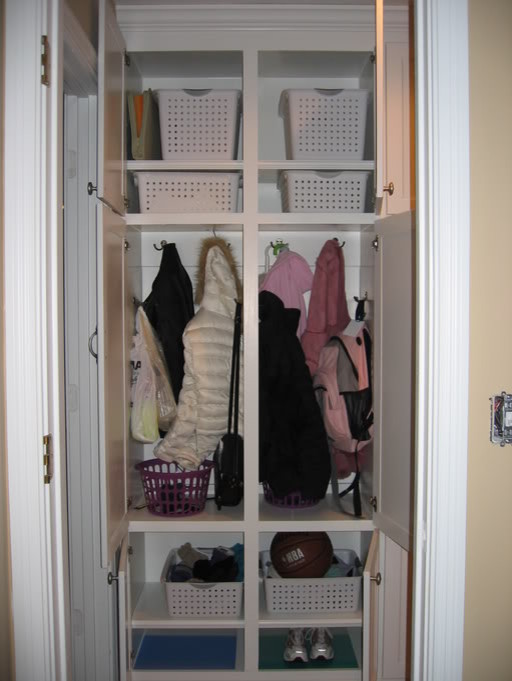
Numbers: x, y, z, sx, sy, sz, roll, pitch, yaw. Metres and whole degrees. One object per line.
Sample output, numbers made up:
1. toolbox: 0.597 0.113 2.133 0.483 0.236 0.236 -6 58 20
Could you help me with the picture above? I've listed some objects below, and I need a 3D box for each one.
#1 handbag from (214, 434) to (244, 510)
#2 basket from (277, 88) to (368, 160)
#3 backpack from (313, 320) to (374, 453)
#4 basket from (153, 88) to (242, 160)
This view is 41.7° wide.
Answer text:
1. handbag: -0.103 0.517 2.408 0.068 0.285 0.189 5 -34 -6
2. basket: 0.241 -0.748 2.338 0.204 0.225 0.233 -1 8 -1
3. backpack: 0.338 0.168 2.441 0.150 0.433 0.255 5 21 26
4. basket: -0.193 -0.700 2.330 0.202 0.219 0.212 -1 4 -12
